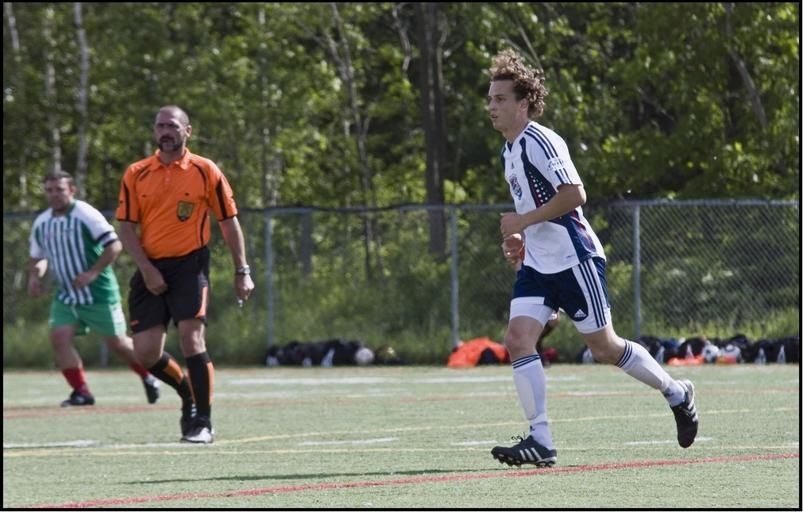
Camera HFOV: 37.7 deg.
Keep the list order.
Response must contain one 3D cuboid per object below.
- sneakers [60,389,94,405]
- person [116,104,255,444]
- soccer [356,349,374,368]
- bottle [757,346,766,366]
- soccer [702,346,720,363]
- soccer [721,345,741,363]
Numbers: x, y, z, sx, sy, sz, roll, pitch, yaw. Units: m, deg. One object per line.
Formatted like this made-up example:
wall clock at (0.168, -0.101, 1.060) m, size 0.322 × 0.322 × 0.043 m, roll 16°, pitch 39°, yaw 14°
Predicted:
sneakers at (-3.674, 1.633, 13.502) m, size 0.396 × 0.197 × 0.151 m, roll 2°, pitch -5°, yaw -7°
person at (-2.174, 0.186, 11.693) m, size 1.192 × 3.323 × 0.687 m, roll -2°, pitch 8°, yaw -13°
soccer at (-0.360, 0.996, 11.685) m, size 0.193 × 0.179 × 0.058 m, roll -1°, pitch 8°, yaw 0°
bottle at (5.170, 1.470, 16.989) m, size 0.107 × 0.210 × 0.060 m, roll 2°, pitch -8°, yaw 25°
soccer at (4.485, 1.441, 17.199) m, size 0.220 × 0.227 × 0.226 m, roll 2°, pitch -5°, yaw -16°
soccer at (4.769, 1.419, 17.162) m, size 0.244 × 0.309 × 0.244 m, roll 3°, pitch 0°, yaw -33°
